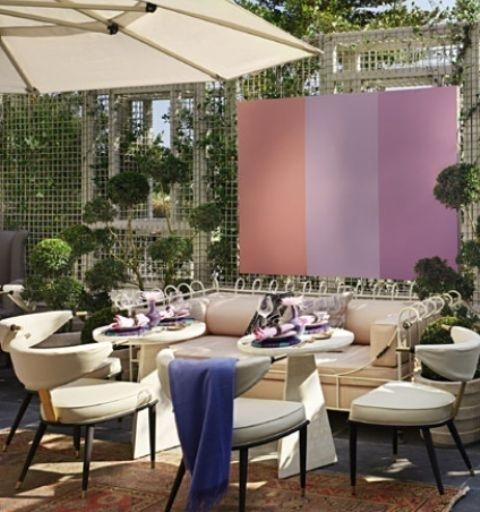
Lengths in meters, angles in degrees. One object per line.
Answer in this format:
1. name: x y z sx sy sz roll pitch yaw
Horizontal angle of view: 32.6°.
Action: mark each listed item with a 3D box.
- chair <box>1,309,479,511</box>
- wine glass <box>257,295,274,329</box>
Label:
1. chair: 0.298 0.789 5.567 2.859 0.912 1.749 3 11 28
2. wine glass: 0.161 0.325 4.733 0.071 0.166 0.077 25 -22 -40
